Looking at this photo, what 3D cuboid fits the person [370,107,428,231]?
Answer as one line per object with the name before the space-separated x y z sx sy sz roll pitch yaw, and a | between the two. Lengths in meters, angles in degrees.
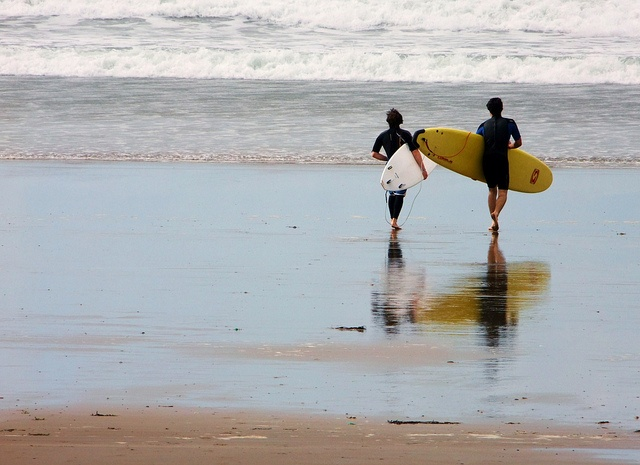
person | 2.229 -1.887 48.672 1.240 3.590 1.359 -9 -20 37
